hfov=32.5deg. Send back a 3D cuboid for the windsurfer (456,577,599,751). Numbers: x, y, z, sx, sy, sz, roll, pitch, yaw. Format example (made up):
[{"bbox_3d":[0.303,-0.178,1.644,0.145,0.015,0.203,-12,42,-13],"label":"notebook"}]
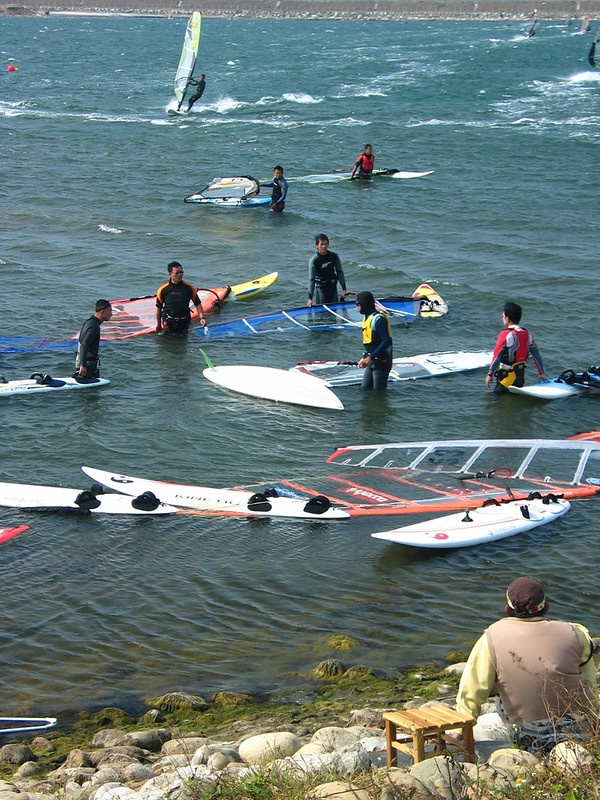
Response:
[{"bbox_3d":[1.224,1.356,5.463,1.062,0.953,0.841,-4,28,12],"label":"windsurfer"}]

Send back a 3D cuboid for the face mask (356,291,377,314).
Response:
[{"bbox_3d":[0.814,-1.207,12.604,0.348,0.283,0.220,-5,29,7],"label":"face mask"}]

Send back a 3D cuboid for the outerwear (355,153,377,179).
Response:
[{"bbox_3d":[1.737,-6.391,28.152,0.461,0.702,0.792,3,16,-1],"label":"outerwear"}]

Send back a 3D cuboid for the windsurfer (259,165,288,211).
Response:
[{"bbox_3d":[-0.498,-4.908,24.069,0.328,1.053,0.567,2,18,-6],"label":"windsurfer"}]

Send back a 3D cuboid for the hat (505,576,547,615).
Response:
[{"bbox_3d":[1.184,1.012,5.406,0.192,0.107,0.222,-2,27,9],"label":"hat"}]

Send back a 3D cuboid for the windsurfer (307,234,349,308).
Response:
[{"bbox_3d":[0.455,-2.044,16.173,0.612,1.144,1.405,3,15,0],"label":"windsurfer"}]

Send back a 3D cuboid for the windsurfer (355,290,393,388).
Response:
[{"bbox_3d":[0.808,-0.733,12.902,0.585,1.170,0.495,6,22,22],"label":"windsurfer"}]

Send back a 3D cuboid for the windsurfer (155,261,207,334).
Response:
[{"bbox_3d":[-1.879,-1.466,15.067,0.784,0.998,0.728,-9,22,-41],"label":"windsurfer"}]

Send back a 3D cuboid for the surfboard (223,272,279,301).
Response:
[{"bbox_3d":[-0.830,-1.962,17.963,0.356,0.146,1.236,33,41,31],"label":"surfboard"}]

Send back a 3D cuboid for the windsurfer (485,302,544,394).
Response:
[{"bbox_3d":[2.778,-0.635,12.894,0.653,1.187,0.692,7,18,11],"label":"windsurfer"}]
